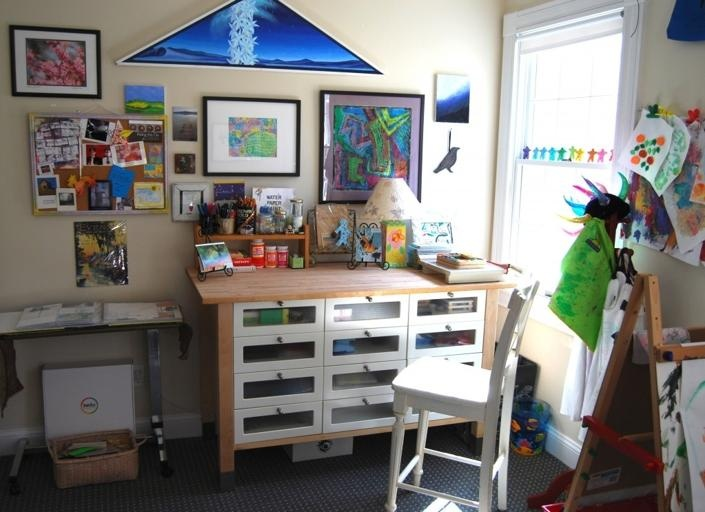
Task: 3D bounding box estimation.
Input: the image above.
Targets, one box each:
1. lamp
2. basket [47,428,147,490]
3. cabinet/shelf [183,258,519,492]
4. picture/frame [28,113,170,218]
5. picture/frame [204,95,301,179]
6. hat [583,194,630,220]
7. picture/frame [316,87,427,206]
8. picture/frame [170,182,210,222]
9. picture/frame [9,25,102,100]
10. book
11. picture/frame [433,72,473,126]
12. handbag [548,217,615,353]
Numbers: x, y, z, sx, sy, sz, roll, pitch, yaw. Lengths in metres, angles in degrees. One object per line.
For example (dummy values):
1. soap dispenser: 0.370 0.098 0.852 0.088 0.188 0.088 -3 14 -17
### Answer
1. lamp: 0.232 -0.269 3.352 0.282 0.366 0.310 1 14 7
2. basket: -1.496 1.169 3.186 0.387 0.148 0.297 -1 8 -20
3. cabinet/shelf: -0.002 0.692 3.165 1.263 0.714 0.502 -2 7 -17
4. picture/frame: -1.569 -0.566 3.304 0.630 0.512 0.029 0 8 -13
5. picture/frame: -0.673 -0.779 3.504 0.539 0.438 0.026 0 8 -11
6. hat: 1.370 -0.258 2.950 0.179 0.098 0.129 -6 5 -18
7. picture/frame: 0.088 -0.752 3.671 0.827 0.857 0.056 0 13 -13
8. picture/frame: -1.039 -0.343 3.455 0.253 0.272 0.020 1 8 -22
9. picture/frame: -1.753 -1.139 3.181 0.440 0.376 0.019 -1 12 -13
10. book: -1.526 0.330 3.186 0.756 0.050 0.388 -5 13 -19
11. picture/frame: 0.680 -1.105 3.809 0.349 0.411 0.042 -2 7 -16
12. handbag: 1.260 0.144 3.016 0.320 0.717 0.179 4 13 22
